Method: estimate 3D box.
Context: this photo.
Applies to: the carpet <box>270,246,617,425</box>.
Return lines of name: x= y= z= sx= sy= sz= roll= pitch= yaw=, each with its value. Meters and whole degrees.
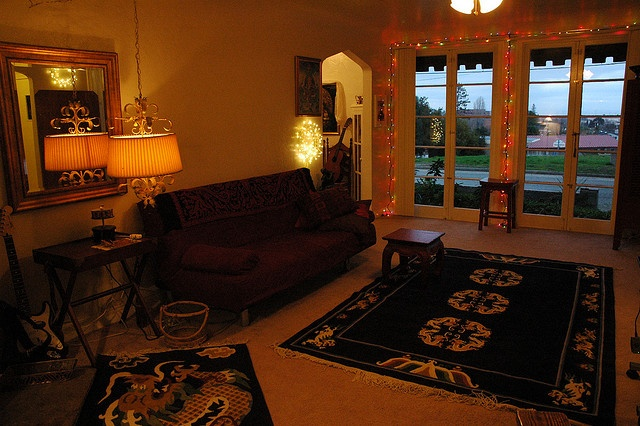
carpet: x=1.585 y=0.970 z=4.472 sx=2.509 sy=0.330 sz=3.236 roll=7 pitch=17 yaw=34

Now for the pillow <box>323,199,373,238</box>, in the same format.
pillow: x=0.433 y=0.095 z=5.513 sx=0.524 sy=0.161 sz=0.431 roll=-16 pitch=37 yaw=-18

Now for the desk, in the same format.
desk: x=-1.959 y=0.654 z=4.108 sx=0.838 sy=1.147 sz=1.180 roll=10 pitch=16 yaw=32

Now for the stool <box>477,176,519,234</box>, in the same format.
stool: x=2.896 y=-0.142 z=7.073 sx=0.545 sy=0.815 sz=0.607 roll=3 pitch=16 yaw=25

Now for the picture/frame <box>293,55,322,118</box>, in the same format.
picture/frame: x=-0.193 y=-1.836 z=6.211 sx=0.070 sy=0.995 sz=0.923 roll=4 pitch=9 yaw=28
